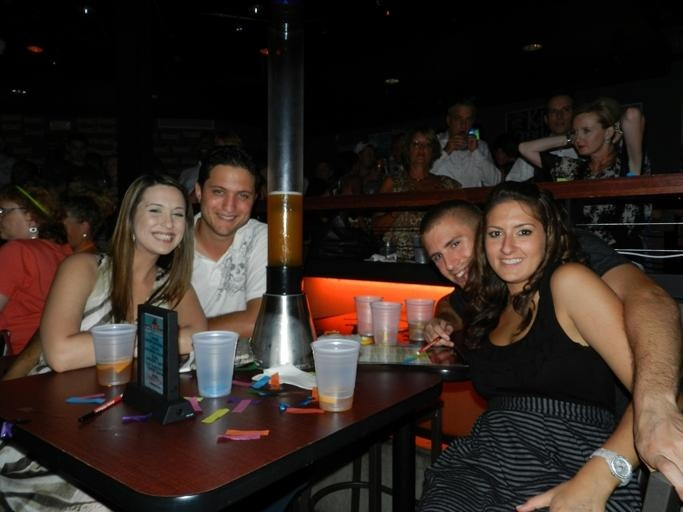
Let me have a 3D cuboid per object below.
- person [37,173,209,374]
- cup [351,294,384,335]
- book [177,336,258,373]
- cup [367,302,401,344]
[{"bbox_3d":[-0.934,0.035,2.344,0.646,0.782,0.442,-2,2,-35],"label":"person"},{"bbox_3d":[0.113,0.270,2.589,0.204,0.213,0.157,1,-2,14],"label":"cup"},{"bbox_3d":[-0.474,0.365,2.114,0.173,0.115,0.149,-2,4,22],"label":"book"},{"bbox_3d":[0.197,0.294,2.429,0.130,0.175,0.194,-1,2,3],"label":"cup"}]
